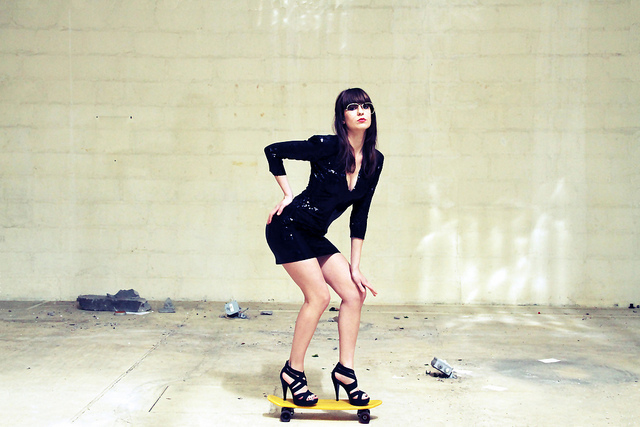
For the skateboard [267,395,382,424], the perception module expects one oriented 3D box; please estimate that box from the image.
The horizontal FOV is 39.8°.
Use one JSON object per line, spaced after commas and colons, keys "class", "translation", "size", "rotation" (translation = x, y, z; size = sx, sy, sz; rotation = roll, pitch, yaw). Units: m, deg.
{"class": "skateboard", "translation": [0.043, 1.677, 7.852], "size": [1.003, 0.166, 0.353], "rotation": [1, -1, -1]}
